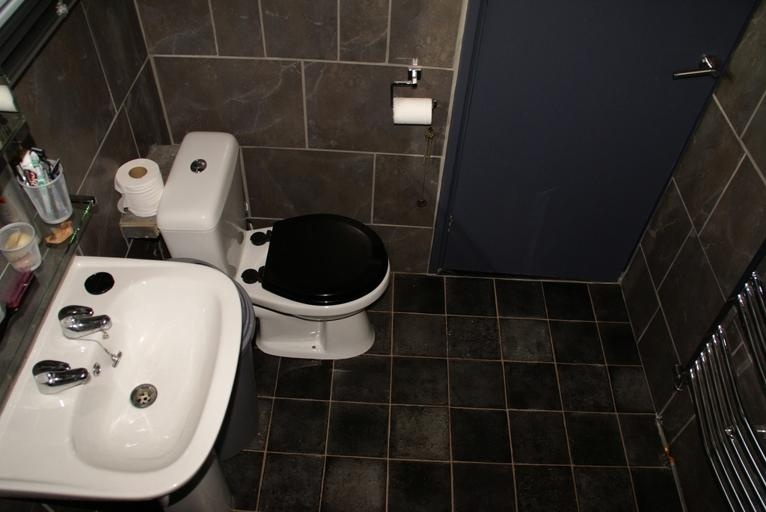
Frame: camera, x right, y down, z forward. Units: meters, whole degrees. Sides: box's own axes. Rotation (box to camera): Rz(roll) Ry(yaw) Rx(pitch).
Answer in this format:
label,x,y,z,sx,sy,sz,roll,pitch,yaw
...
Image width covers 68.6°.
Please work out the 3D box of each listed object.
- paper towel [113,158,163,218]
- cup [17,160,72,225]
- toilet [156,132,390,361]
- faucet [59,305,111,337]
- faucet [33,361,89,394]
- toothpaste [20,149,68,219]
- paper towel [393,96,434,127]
label,x,y,z,sx,sy,sz,roll,pitch,yaw
paper towel,-0.935,-0.255,2.171,0.165,0.161,0.154,30,49,27
cup,-1.055,-0.205,1.751,0.116,0.206,0.129,4,36,6
toilet,-0.455,0.052,2.593,0.935,1.002,0.592,5,40,-2
faucet,-0.958,0.210,1.780,0.110,0.081,0.042,-12,52,-8
faucet,-0.973,0.360,1.688,0.132,0.050,0.104,-5,50,-25
toothpaste,-1.054,-0.211,1.724,0.107,0.178,0.105,14,53,1
paper towel,0.121,-0.602,2.361,0.188,0.126,0.106,1,40,-1
